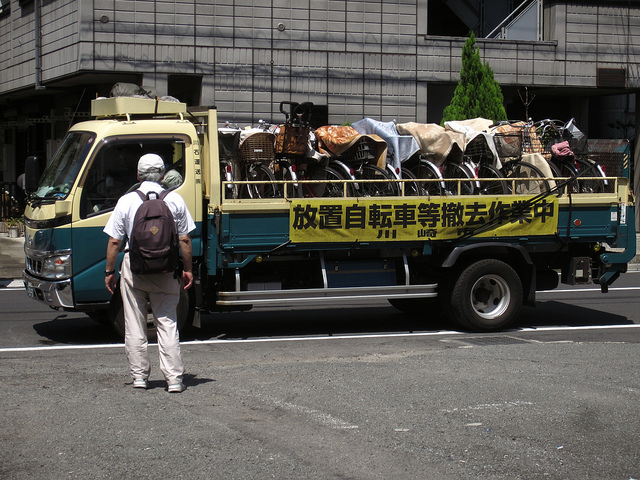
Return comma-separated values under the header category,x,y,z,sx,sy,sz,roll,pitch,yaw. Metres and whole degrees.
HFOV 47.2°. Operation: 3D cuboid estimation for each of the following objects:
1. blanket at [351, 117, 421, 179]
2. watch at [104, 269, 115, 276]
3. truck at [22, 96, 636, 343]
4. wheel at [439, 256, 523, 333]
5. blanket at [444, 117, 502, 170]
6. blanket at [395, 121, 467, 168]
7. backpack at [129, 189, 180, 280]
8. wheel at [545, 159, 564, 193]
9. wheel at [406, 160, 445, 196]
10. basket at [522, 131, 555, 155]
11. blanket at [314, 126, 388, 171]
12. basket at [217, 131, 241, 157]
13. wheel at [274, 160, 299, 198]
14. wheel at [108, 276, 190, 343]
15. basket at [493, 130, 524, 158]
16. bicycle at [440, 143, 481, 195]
category,x,y,z,sx,sy,sz,roll,pitch,yaw
blanket,0.975,-1.517,11.266,0.744,0.481,1.087,0,32,-36
watch,-2.237,0.346,7.797,0.081,0.067,0.074,-3,6,-33
truck,-0.245,-0.130,11.761,9.574,4.227,3.698,0,2,-15
wheel,2.324,0.766,10.636,0.961,1.059,0.358,-2,9,-12
blanket,2.450,-1.539,11.678,0.856,0.426,0.741,-5,14,-14
blanket,1.802,-1.524,11.327,0.623,0.336,0.977,-10,20,-29
backpack,-1.742,-0.075,7.766,0.499,0.870,0.476,-8,14,-27
wheel,3.674,-0.999,11.412,0.095,0.444,0.420,-7,-14,-5
wheel,1.501,-0.878,10.925,0.649,0.135,0.705,3,43,-3
basket,3.564,-1.587,12.018,0.493,0.311,0.903,1,13,4
blanket,0.509,-1.463,11.468,1.251,0.595,1.346,12,7,36
basket,-1.285,-1.350,10.488,0.289,0.372,0.362,2,3,7
wheel,-0.480,-0.890,10.603,0.115,0.525,0.428,-8,12,-19
wheel,-1.953,0.764,8.321,0.887,0.977,0.306,-2,13,-11
basket,2.882,-1.468,11.295,0.553,0.438,0.334,-1,-1,-3
bicycle,2.110,-1.058,11.086,0.182,0.737,0.627,-6,7,-3
